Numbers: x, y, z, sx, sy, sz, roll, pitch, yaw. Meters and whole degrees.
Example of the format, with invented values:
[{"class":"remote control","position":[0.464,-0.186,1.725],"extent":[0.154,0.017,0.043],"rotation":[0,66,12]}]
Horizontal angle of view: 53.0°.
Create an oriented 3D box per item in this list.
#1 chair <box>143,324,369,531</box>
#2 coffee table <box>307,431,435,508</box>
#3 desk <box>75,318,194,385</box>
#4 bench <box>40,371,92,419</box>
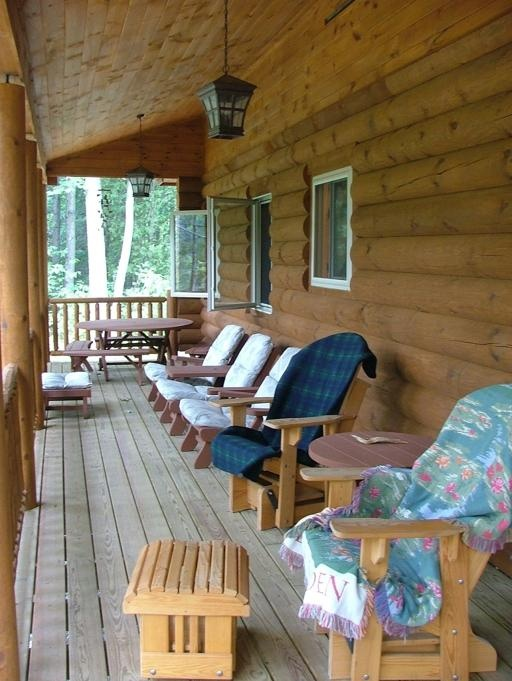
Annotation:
[{"class":"chair","position":[0.244,0.536,3.237],"extent":[1.228,1.285,1.188],"rotation":[0,1,-24]},{"class":"coffee table","position":[0.456,0.518,2.305],"extent":[0.497,0.257,0.442],"rotation":[-3,10,-18]},{"class":"desk","position":[-1.989,0.171,8.205],"extent":[1.732,0.759,1.437],"rotation":[6,3,11]},{"class":"bench","position":[-2.109,0.519,5.708],"extent":[0.505,0.320,0.654],"rotation":[-2,10,-10]}]
